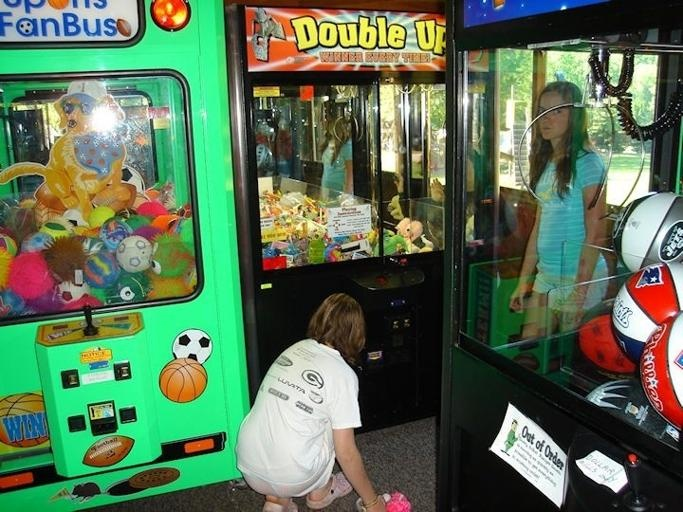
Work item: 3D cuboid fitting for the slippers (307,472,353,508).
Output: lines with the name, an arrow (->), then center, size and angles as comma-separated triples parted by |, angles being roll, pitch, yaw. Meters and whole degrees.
slippers -> -0.046, 1.465, 3.269 | 0.119, 0.154, 0.357 | 8, 16, 42

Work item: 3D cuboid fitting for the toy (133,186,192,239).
toy -> -1.031, -0.259, 2.969 | 0.201, 0.154, 0.328 | -7, -1, -16

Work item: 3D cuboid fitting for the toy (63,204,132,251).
toy -> -1.364, -0.179, 2.904 | 0.249, 0.265, 0.110 | -26, 13, -20

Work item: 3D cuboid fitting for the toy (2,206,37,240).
toy -> -1.760, -0.174, 2.808 | 0.174, 0.177, 0.043 | -7, 17, -9

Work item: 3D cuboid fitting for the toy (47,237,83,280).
toy -> -1.547, 0.004, 2.869 | 0.135, 0.151, 0.151 | 14, 54, 29

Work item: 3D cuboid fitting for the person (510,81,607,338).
person -> 1.002, -0.255, 2.315 | 0.374, 1.003, 0.924 | 4, 19, 24

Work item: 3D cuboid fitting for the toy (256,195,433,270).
toy -> 0.006, -0.225, 3.555 | 1.153, 0.545, 0.187 | -9, 17, -15

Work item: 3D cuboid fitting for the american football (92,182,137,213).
american football -> -1.272, -0.329, 2.900 | 0.195, 0.148, 0.071 | -27, 12, 1
